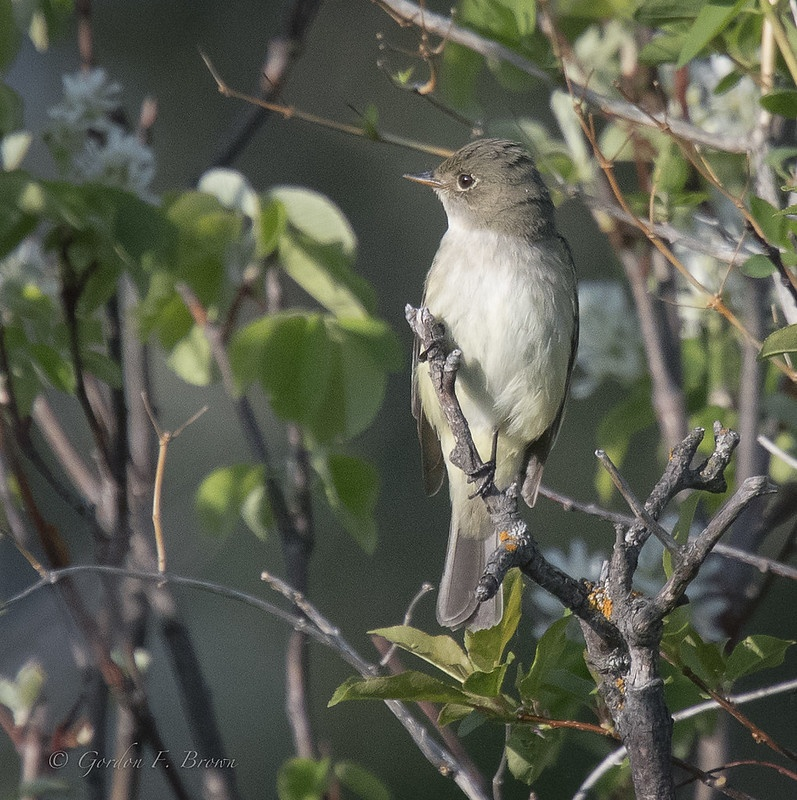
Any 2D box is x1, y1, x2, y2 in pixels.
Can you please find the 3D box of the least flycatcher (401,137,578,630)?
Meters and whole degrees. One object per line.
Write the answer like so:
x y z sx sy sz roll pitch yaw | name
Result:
0.199 -0.064 3.460 0.345 0.542 1.359 2 -67 -3 | least flycatcher
